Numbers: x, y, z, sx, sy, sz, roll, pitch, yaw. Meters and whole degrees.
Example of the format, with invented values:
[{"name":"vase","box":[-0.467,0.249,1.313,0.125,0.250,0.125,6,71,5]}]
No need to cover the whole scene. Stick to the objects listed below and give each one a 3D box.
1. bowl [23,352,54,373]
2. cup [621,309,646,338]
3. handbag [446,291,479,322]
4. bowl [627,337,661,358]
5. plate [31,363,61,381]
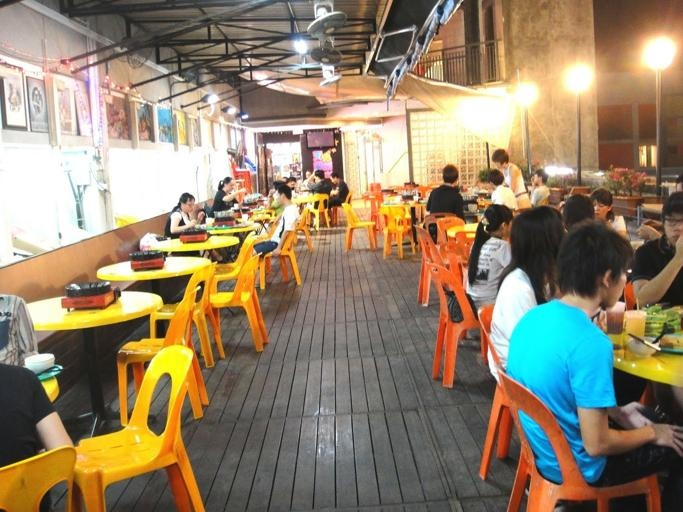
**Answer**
[{"name":"bowl","box":[-1.716,0.608,2.935,0.119,0.056,0.142,1,4,-3]},{"name":"cup","box":[1.480,0.328,2.540,0.111,0.158,0.124,-2,2,0]},{"name":"handbag","box":[1.017,0.432,4.344,0.175,0.292,0.271,-2,0,-8]},{"name":"bowl","box":[1.439,0.423,2.415,0.100,0.070,0.103,-1,14,0]},{"name":"plate","box":[-1.668,0.661,2.927,0.131,0.043,0.145,1,8,1]}]
